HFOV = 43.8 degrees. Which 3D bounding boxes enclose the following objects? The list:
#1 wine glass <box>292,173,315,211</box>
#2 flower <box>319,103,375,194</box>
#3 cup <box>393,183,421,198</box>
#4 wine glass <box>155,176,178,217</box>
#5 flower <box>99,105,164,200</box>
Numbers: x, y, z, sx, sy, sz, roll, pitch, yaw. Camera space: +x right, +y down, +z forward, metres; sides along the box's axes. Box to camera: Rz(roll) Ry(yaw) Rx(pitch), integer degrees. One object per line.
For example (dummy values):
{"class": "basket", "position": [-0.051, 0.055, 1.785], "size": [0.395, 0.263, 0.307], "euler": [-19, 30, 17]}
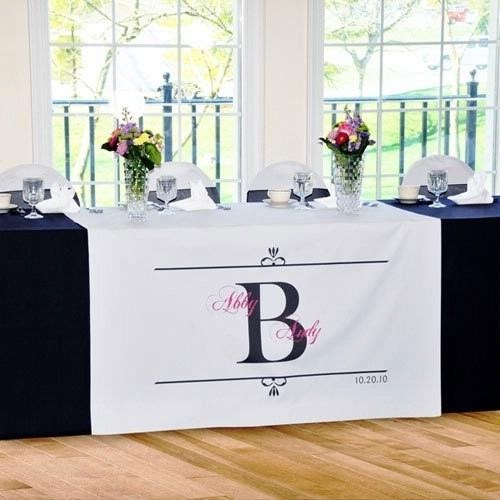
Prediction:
{"class": "wine glass", "position": [0.231, -0.257, 2.710], "size": [0.104, 0.147, 0.096], "euler": [4, 10, 21]}
{"class": "flower", "position": [0.406, -0.394, 2.523], "size": [0.287, 0.300, 0.241], "euler": [-6, 21, -12]}
{"class": "cup", "position": [0.750, -0.268, 2.907], "size": [0.096, 0.063, 0.097], "euler": [-1, -1, 0]}
{"class": "wine glass", "position": [-0.343, -0.222, 2.557], "size": [0.131, 0.137, 0.123], "euler": [-1, 6, -11]}
{"class": "flower", "position": [-0.434, -0.354, 2.403], "size": [0.231, 0.297, 0.339], "euler": [-12, 10, -37]}
